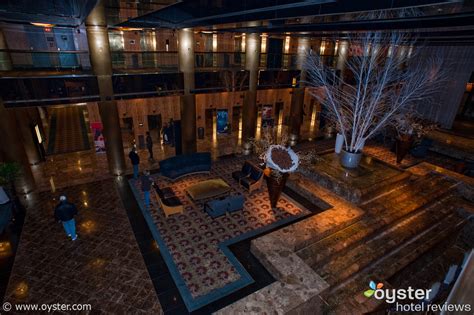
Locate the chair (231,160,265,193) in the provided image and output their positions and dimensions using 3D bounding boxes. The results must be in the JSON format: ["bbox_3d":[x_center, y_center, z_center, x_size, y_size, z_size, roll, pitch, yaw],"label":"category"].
[{"bbox_3d":[0.559,0.860,12.853,1.331,1.271,1.518,-6,15,-25],"label":"chair"}]

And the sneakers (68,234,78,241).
[{"bbox_3d":[-6.055,2.958,9.916,0.226,0.130,0.270,-4,14,-24],"label":"sneakers"}]

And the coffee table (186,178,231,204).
[{"bbox_3d":[-1.313,1.388,12.246,1.826,0.375,1.141,-11,32,-23],"label":"coffee table"}]

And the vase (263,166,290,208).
[{"bbox_3d":[1.485,1.240,11.542,1.039,1.637,0.892,0,21,-22],"label":"vase"}]

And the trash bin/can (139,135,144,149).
[{"bbox_3d":[-6.069,-1.023,16.935,0.373,0.796,0.373,-8,28,-14],"label":"trash bin/can"}]

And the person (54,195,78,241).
[{"bbox_3d":[-6.232,2.162,9.800,0.730,1.698,0.609,12,30,24],"label":"person"}]

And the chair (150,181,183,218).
[{"bbox_3d":[-2.861,1.793,11.269,0.789,0.966,1.273,-17,29,-29],"label":"chair"}]

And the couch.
[{"bbox_3d":[-2.554,0.352,13.492,2.476,0.757,1.022,-13,28,-26],"label":"couch"}]
